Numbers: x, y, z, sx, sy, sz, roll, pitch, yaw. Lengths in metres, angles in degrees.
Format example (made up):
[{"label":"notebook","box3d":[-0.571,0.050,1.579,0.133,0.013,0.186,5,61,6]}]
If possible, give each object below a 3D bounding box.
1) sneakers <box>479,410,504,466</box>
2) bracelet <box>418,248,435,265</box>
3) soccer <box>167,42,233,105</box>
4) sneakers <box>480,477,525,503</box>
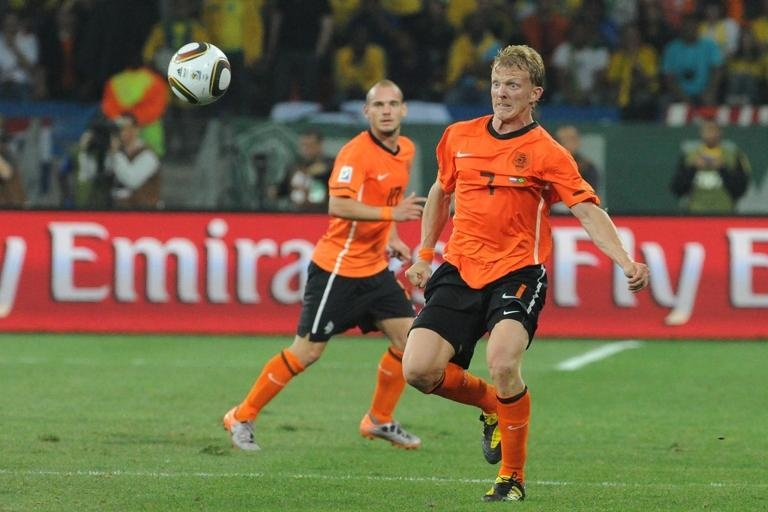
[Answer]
[{"label":"sneakers","box3d":[0.947,1.614,10.093,0.196,0.469,0.152,3,-11,-40]},{"label":"bracelet","box3d":[0.358,-0.005,10.050,0.111,0.100,0.127,9,-12,-35]},{"label":"soccer","box3d":[-1.957,-1.911,11.724,0.609,0.632,0.619,-9,14,-23]},{"label":"sneakers","box3d":[0.986,1.952,9.495,0.334,0.198,0.168,1,-6,0]}]
